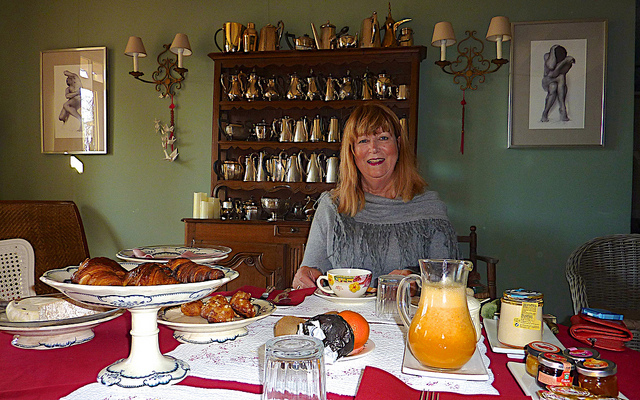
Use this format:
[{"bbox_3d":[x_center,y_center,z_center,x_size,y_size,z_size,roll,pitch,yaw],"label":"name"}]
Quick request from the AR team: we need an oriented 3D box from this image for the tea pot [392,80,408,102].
[{"bbox_3d":[0.617,-0.819,3.548,0.167,0.135,0.095,0,6,6],"label":"tea pot"}]

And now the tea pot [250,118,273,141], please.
[{"bbox_3d":[-0.456,-0.543,3.704,0.189,0.166,0.134,0,8,-4],"label":"tea pot"}]

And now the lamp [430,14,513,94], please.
[{"bbox_3d":[1.230,-1.152,3.653,0.702,0.538,0.273,-1,-1,4],"label":"lamp"}]

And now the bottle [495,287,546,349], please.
[{"bbox_3d":[0.657,0.406,1.608,0.175,0.181,0.169,2,-3,4],"label":"bottle"}]

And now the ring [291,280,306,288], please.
[{"bbox_3d":[-0.099,0.380,2.112,0.047,0.044,0.027,-2,-2,26],"label":"ring"}]

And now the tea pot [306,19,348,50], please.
[{"bbox_3d":[0.083,-1.272,3.630,0.257,0.232,0.172,2,7,10],"label":"tea pot"}]

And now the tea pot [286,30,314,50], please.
[{"bbox_3d":[-0.136,-1.255,3.733,0.302,0.172,0.166,1,12,4],"label":"tea pot"}]

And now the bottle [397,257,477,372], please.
[{"bbox_3d":[0.374,0.344,1.474,0.201,0.326,0.212,0,7,0],"label":"bottle"}]

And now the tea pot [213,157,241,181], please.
[{"bbox_3d":[-0.742,-0.246,3.743,0.211,0.132,0.150,-1,3,-6],"label":"tea pot"}]

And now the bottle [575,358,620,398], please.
[{"bbox_3d":[0.802,0.509,1.329,0.100,0.088,0.101,-1,-4,1],"label":"bottle"}]

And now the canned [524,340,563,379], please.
[{"bbox_3d":[0.669,0.471,1.408,0.100,0.079,0.097,0,1,-22],"label":"canned"}]

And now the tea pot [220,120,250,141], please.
[{"bbox_3d":[-0.687,-0.563,3.778,0.206,0.137,0.154,2,4,-34],"label":"tea pot"}]

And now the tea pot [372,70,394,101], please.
[{"bbox_3d":[0.487,-0.859,3.540,0.202,0.279,0.183,0,-8,3],"label":"tea pot"}]

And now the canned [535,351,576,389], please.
[{"bbox_3d":[0.686,0.487,1.352,0.096,0.077,0.093,0,-6,5],"label":"canned"}]

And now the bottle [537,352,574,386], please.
[{"bbox_3d":[0.683,0.487,1.364,0.091,0.078,0.091,1,-6,2],"label":"bottle"}]

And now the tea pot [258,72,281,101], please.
[{"bbox_3d":[-0.394,-0.899,3.767,0.216,0.217,0.152,2,7,4],"label":"tea pot"}]

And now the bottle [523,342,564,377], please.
[{"bbox_3d":[0.674,0.476,1.408,0.099,0.078,0.096,1,0,0],"label":"bottle"}]

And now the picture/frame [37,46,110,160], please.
[{"bbox_3d":[-2.265,-0.905,4.273,0.700,0.949,0.110,2,7,12],"label":"picture/frame"}]

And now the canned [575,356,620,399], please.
[{"bbox_3d":[0.800,0.503,1.335,0.100,0.088,0.101,-1,-3,1],"label":"canned"}]

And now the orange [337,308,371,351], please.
[{"bbox_3d":[0.125,0.424,1.544,0.124,0.112,0.113,13,-28,-16],"label":"orange"}]

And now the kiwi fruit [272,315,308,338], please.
[{"bbox_3d":[-0.095,0.389,1.461,0.077,0.052,0.069,-7,-6,42],"label":"kiwi fruit"}]

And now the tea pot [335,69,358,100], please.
[{"bbox_3d":[0.229,-0.891,3.629,0.168,0.226,0.111,-1,7,-11],"label":"tea pot"}]

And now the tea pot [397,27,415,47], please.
[{"bbox_3d":[0.665,-1.240,3.563,0.113,0.184,0.216,1,7,7],"label":"tea pot"}]

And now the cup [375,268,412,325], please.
[{"bbox_3d":[0.259,0.365,1.747,0.152,0.159,0.156,2,-6,0],"label":"cup"}]

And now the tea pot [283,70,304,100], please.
[{"bbox_3d":[-0.192,-0.892,3.670,0.144,0.206,0.074,1,7,2],"label":"tea pot"}]

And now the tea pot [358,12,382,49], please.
[{"bbox_3d":[0.395,-1.294,3.588,0.162,0.278,0.193,1,7,5],"label":"tea pot"}]
